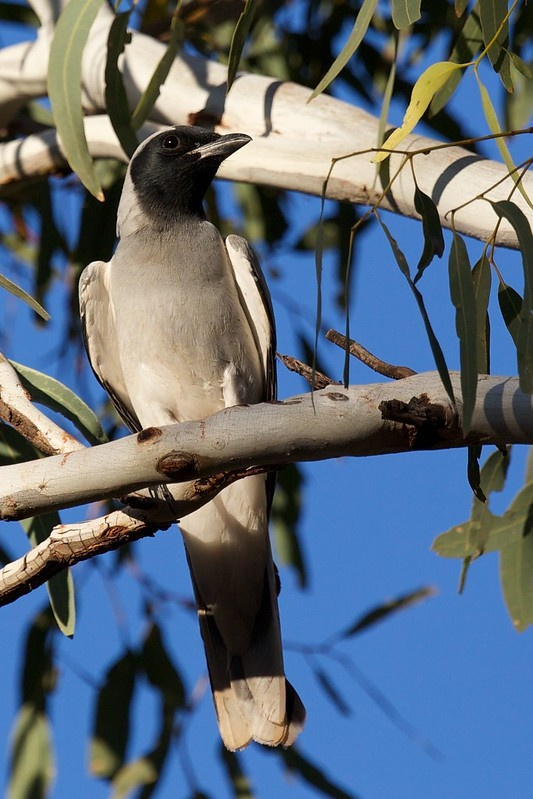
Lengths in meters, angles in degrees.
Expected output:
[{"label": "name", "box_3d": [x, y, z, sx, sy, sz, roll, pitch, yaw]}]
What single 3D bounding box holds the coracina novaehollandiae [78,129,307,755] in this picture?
[{"label": "coracina novaehollandiae", "box_3d": [-0.227, 0.081, 4.331, 0.587, 1.045, 1.983, -8, 102, 0]}]
